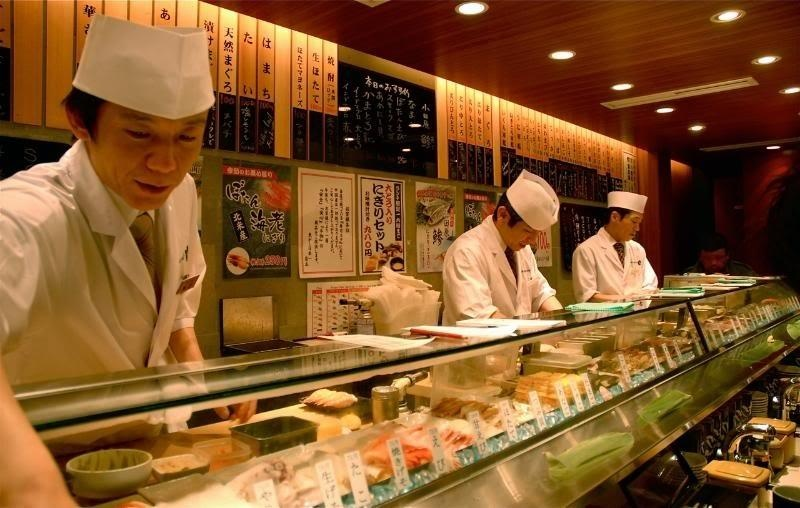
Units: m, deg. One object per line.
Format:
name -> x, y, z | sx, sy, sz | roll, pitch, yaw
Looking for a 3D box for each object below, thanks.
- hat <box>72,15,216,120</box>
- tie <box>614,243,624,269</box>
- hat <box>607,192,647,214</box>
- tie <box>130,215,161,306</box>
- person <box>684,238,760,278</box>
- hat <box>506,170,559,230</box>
hat -> -1.018, -0.812, 2.136 | 0.495, 0.271, 0.496 | 25, 29, 31
tie -> 2.252, 0.010, 5.522 | 0.142, 0.219, 0.054 | 0, -1, -37
hat -> 2.224, -0.510, 5.296 | 0.303, 0.121, 0.245 | 9, 0, 31
tie -> -1.081, 0.029, 2.336 | 0.076, 0.383, 0.107 | -7, 7, 0
person -> 3.999, 0.016, 6.754 | 0.677, 0.520, 0.821 | 1, 4, 30
hat -> 0.933, -0.365, 3.723 | 0.362, 0.417, 0.286 | -1, 3, -9
